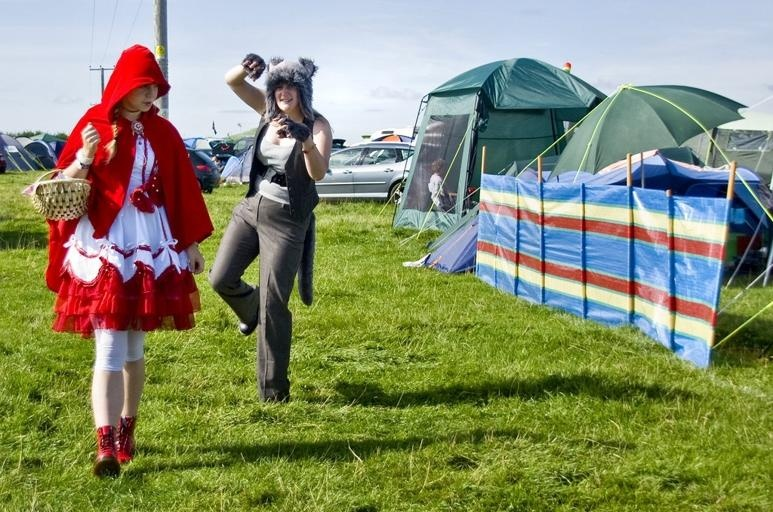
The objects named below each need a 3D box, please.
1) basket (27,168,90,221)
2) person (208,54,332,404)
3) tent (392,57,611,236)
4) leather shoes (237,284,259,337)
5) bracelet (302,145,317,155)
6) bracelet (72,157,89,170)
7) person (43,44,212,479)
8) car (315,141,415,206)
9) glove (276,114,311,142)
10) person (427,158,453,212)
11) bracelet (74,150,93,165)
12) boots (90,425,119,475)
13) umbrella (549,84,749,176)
[{"bbox_3d":[-2.176,-0.406,5.681,0.360,0.266,0.294,-3,1,32],"label":"basket"},{"bbox_3d":[-0.874,-0.198,6.591,0.892,2.612,0.746,-2,15,-12],"label":"person"},{"bbox_3d":[2.225,-2.243,14.537,2.078,1.501,2.203,9,28,18],"label":"tent"},{"bbox_3d":[-1.106,0.442,6.986,0.164,0.201,0.494,4,36,5],"label":"leather shoes"},{"bbox_3d":[-0.551,-0.779,6.205,0.088,0.058,0.075,0,15,-3],"label":"bracelet"},{"bbox_3d":[-2.001,-0.617,5.672,0.074,0.073,0.026,9,14,-4],"label":"bracelet"},{"bbox_3d":[-1.690,-0.019,5.775,1.041,2.708,0.843,-8,17,-31],"label":"person"},{"bbox_3d":[-0.401,-1.758,17.424,2.314,0.771,1.040,2,6,6],"label":"car"},{"bbox_3d":[-0.648,-0.906,6.107,0.226,0.178,0.080,-1,15,-9],"label":"glove"},{"bbox_3d":[0.864,-1.130,13.569,0.144,0.815,0.510,-7,17,-30],"label":"person"},{"bbox_3d":[-1.989,-0.650,5.666,0.092,0.066,0.110,17,12,-8],"label":"bracelet"},{"bbox_3d":[-1.829,1.268,5.615,0.157,0.316,0.157,-4,15,-20],"label":"boots"},{"bbox_3d":[2.838,-1.364,9.546,1.848,1.117,1.064,4,15,11],"label":"umbrella"}]
